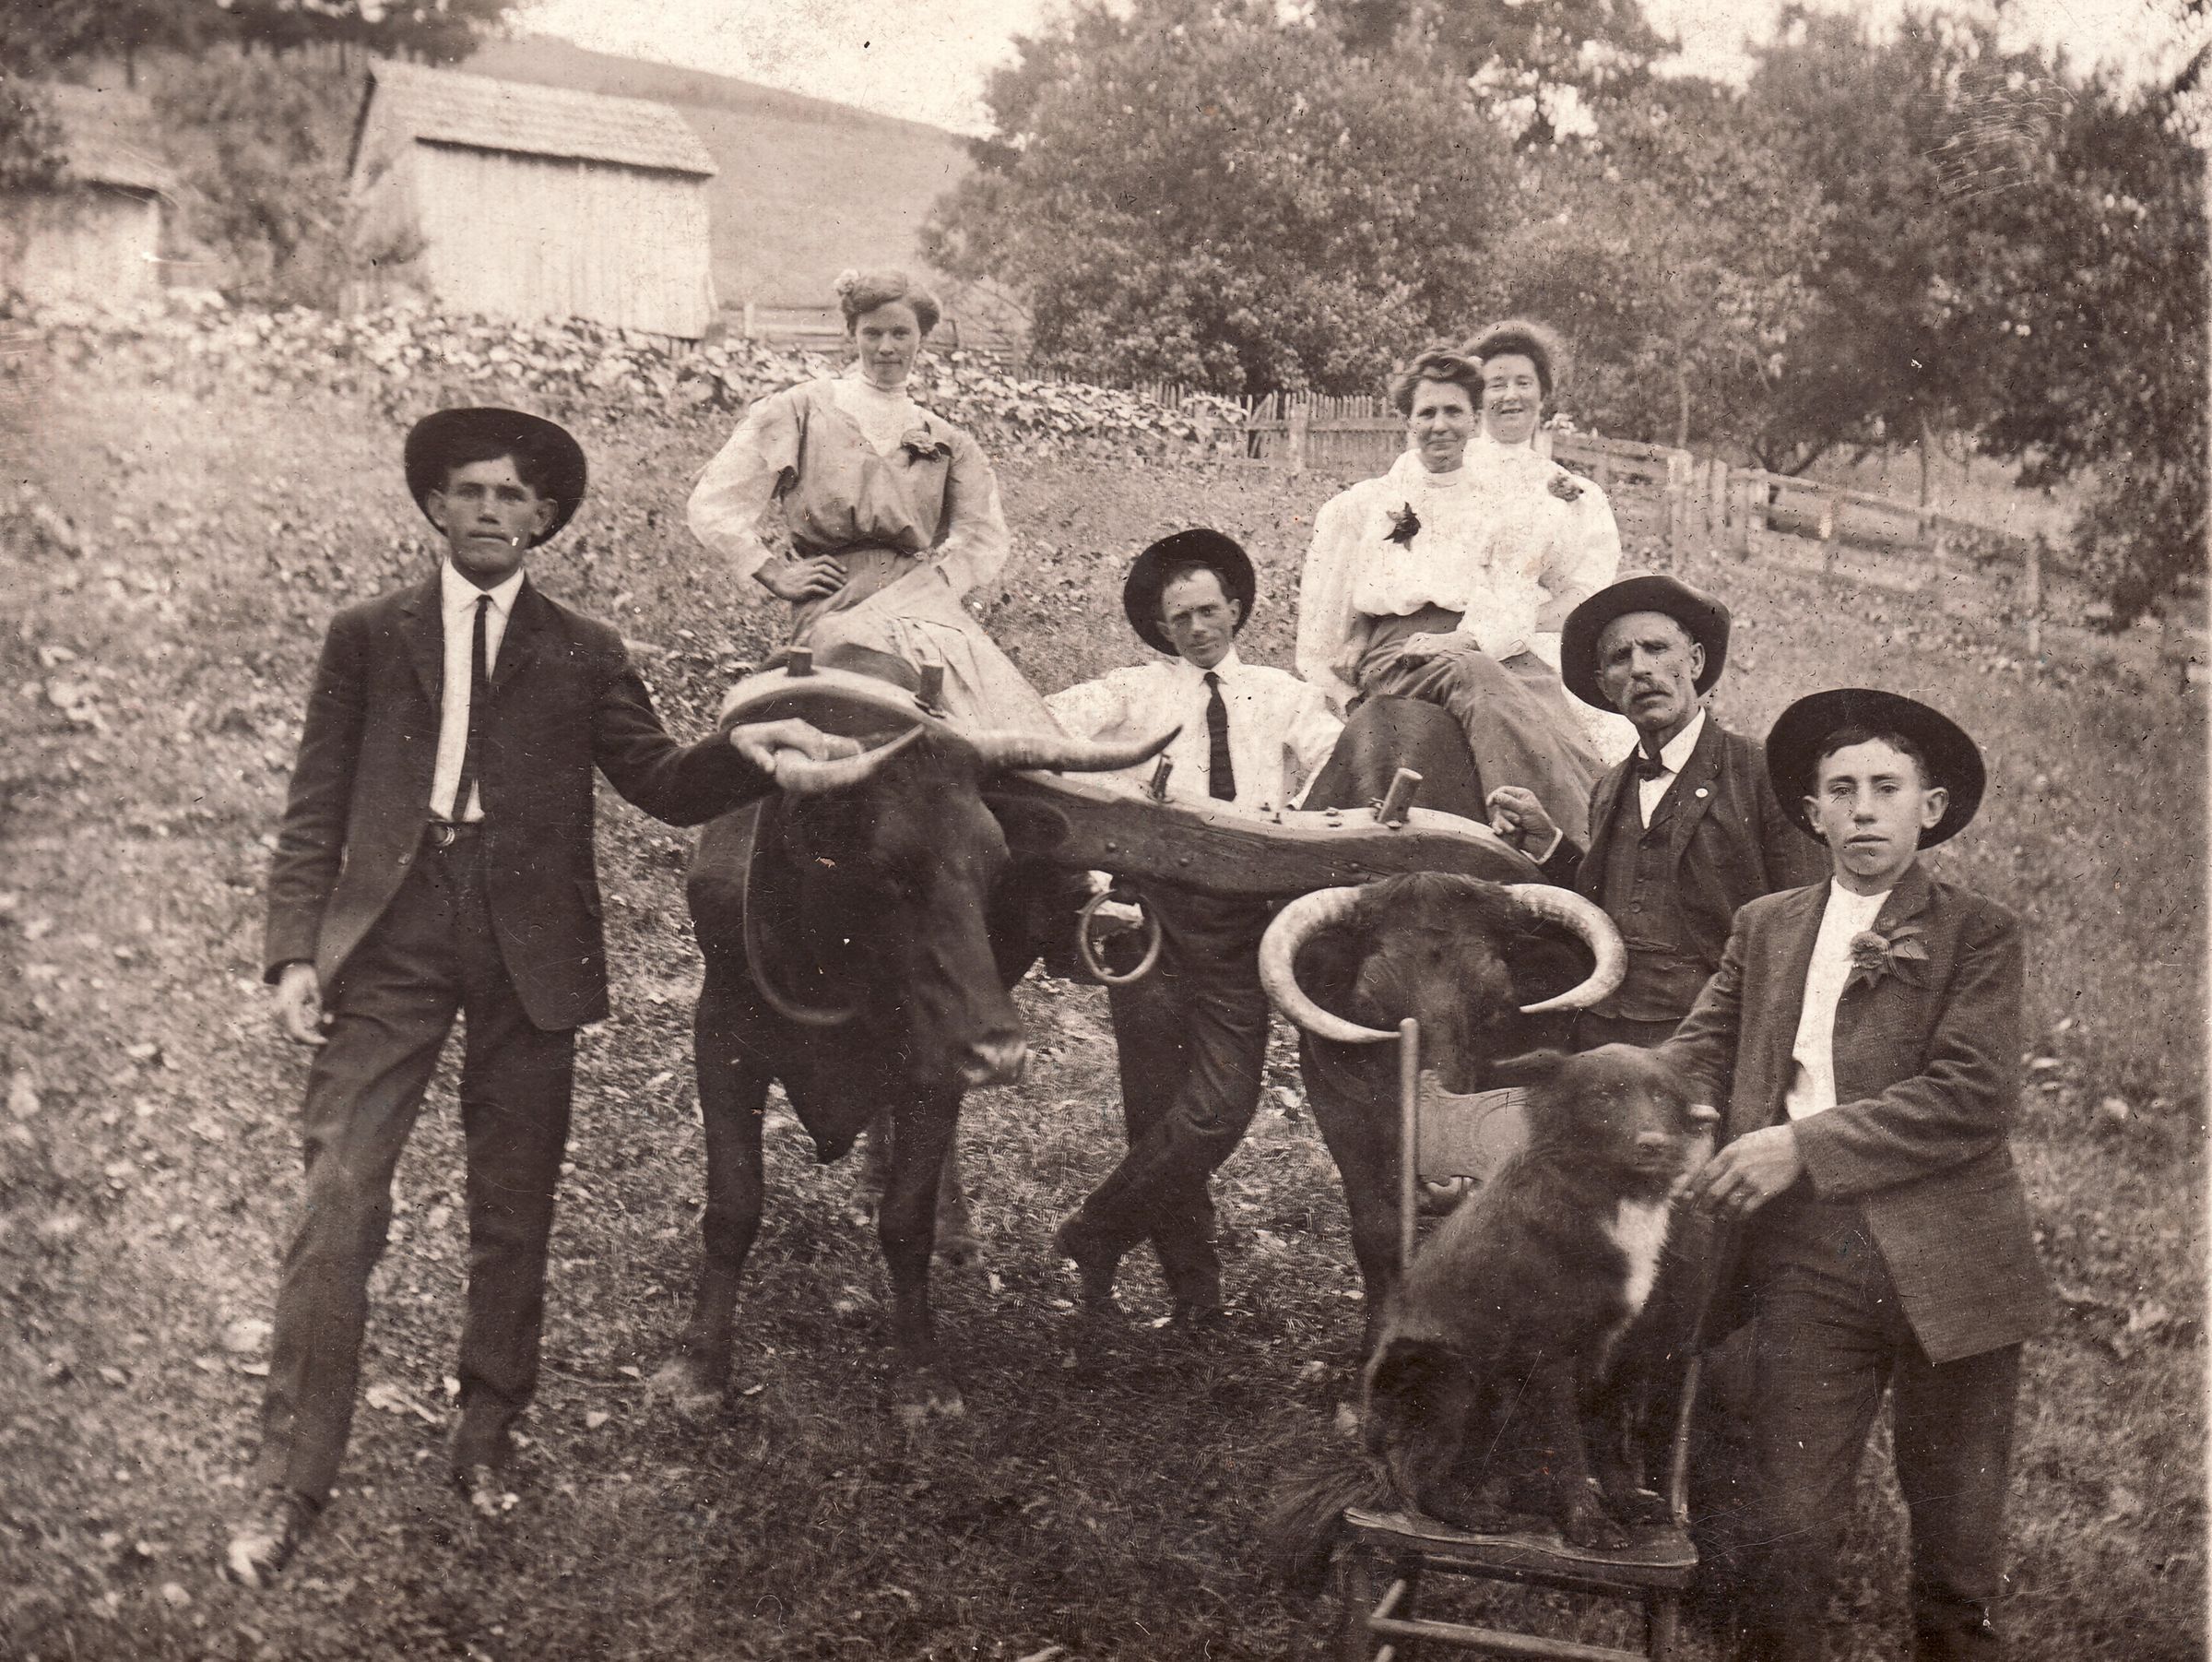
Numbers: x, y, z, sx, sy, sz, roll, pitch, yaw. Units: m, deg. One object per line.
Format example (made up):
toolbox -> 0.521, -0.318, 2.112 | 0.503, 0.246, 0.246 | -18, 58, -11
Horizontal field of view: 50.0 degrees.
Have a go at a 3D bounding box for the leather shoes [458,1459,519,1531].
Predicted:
leather shoes -> -1.882, 2.008, 7.182 | 0.176, 0.170, 0.053 | -7, -25, -37

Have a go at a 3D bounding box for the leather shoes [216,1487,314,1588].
leather shoes -> -2.395, 2.018, 6.768 | 0.186, 0.359, 0.174 | 41, 46, -1

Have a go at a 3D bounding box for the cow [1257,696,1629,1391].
cow -> 0.941, 0.433, 7.488 | 0.821, 1.155, 2.243 | -1, 7, 5
